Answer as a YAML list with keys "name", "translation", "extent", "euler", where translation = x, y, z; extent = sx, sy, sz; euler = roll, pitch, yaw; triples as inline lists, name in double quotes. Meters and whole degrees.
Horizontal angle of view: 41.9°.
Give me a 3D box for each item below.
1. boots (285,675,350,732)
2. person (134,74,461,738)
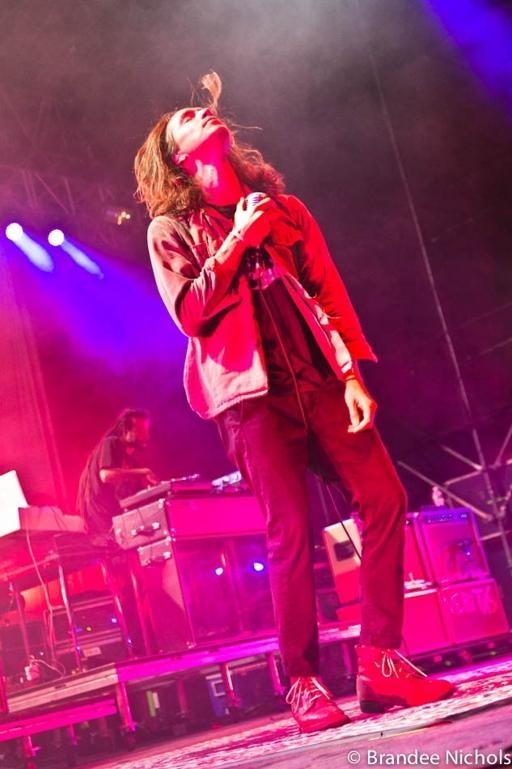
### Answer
- name: "boots"
  translation: [0.134, 0.789, 1.674]
  extent: [0.101, 0.108, 0.281]
  euler: [-4, -13, -18]
- name: "person"
  translation: [0.088, -0.002, 1.952]
  extent: [0.596, 1.842, 0.525]
  euler: [-13, -9, -6]
